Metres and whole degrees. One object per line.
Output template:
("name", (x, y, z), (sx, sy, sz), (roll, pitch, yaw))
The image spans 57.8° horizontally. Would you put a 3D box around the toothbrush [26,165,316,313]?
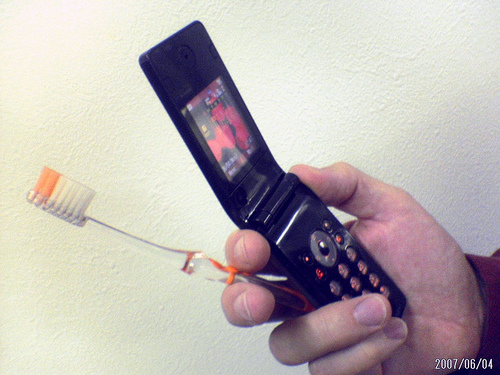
("toothbrush", (-0.133, 0.100, 0.819), (0.055, 0.516, 0.064), (-66, -6, 17))
